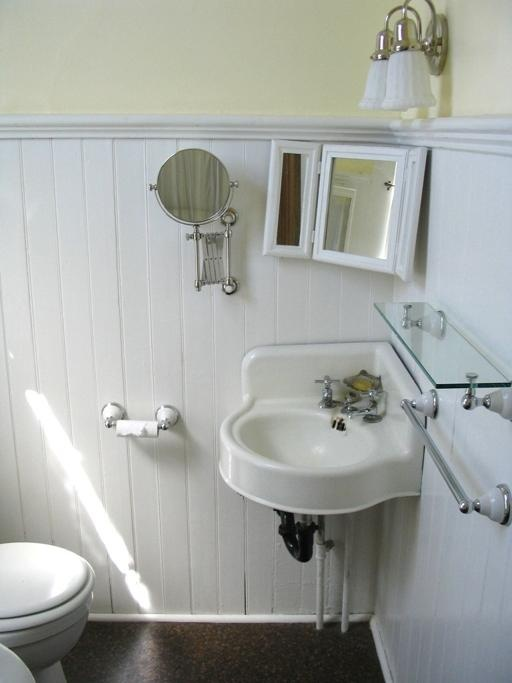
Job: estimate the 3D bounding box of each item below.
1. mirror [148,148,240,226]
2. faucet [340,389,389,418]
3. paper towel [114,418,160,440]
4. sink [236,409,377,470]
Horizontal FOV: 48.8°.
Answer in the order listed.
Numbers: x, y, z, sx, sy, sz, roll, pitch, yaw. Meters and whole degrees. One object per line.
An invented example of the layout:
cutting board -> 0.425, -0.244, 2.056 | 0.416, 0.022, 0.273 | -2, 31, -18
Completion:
mirror -> -0.167, -0.425, 1.512 | 0.196, 0.166, 0.023 | 13, 3, -10
faucet -> 0.304, 0.162, 1.590 | 0.059, 0.069, 0.163 | 4, 9, 21
paper towel -> -0.363, 0.261, 1.744 | 0.128, 0.046, 0.085 | 0, 11, 4
sink -> 0.138, 0.285, 1.535 | 0.359, 0.125, 0.208 | 2, 11, 14
